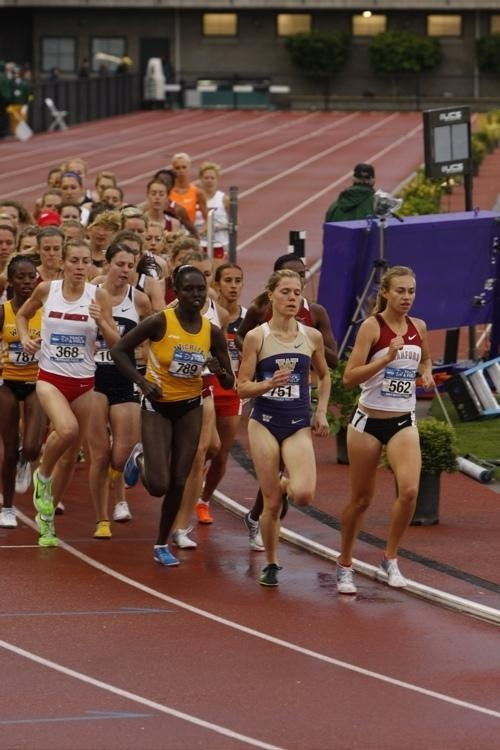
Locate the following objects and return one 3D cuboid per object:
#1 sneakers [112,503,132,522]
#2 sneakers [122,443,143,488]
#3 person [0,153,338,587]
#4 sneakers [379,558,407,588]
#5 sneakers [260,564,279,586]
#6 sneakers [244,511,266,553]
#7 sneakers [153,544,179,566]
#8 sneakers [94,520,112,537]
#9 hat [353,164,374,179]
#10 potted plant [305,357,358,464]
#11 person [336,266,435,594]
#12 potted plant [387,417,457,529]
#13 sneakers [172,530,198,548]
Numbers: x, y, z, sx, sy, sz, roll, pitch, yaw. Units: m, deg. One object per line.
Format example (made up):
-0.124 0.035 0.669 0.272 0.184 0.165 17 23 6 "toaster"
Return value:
-1.019 1.095 6.716 0.136 0.120 0.300 0 -5 -9 "sneakers"
-0.790 0.661 5.656 0.166 0.372 0.127 1 32 -1 "sneakers"
-0.218 0.303 5.234 1.389 1.924 0.829 4 2 10 "person"
0.897 1.220 5.184 0.101 0.091 0.238 -7 30 -18 "sneakers"
0.127 1.225 5.146 0.081 0.068 0.174 2 -1 -3 "sneakers"
0.018 1.130 6.003 0.112 0.301 0.140 -19 8 -30 "sneakers"
-0.554 1.174 5.527 0.087 0.083 0.232 -2 1 -35 "sneakers"
-1.068 1.117 6.129 0.098 0.091 0.235 1 -12 -9 "sneakers"
1.573 -2.773 11.669 0.281 0.169 0.364 2 20 4 "hat"
0.954 0.354 8.444 0.739 1.024 0.654 3 -22 15 "potted plant"
0.812 0.323 5.098 0.524 1.441 0.625 4 2 12 "person"
1.269 0.761 6.945 0.785 0.896 0.801 3 7 20 "potted plant"
-0.470 1.160 5.996 0.086 0.093 0.239 -3 1 -38 "sneakers"
